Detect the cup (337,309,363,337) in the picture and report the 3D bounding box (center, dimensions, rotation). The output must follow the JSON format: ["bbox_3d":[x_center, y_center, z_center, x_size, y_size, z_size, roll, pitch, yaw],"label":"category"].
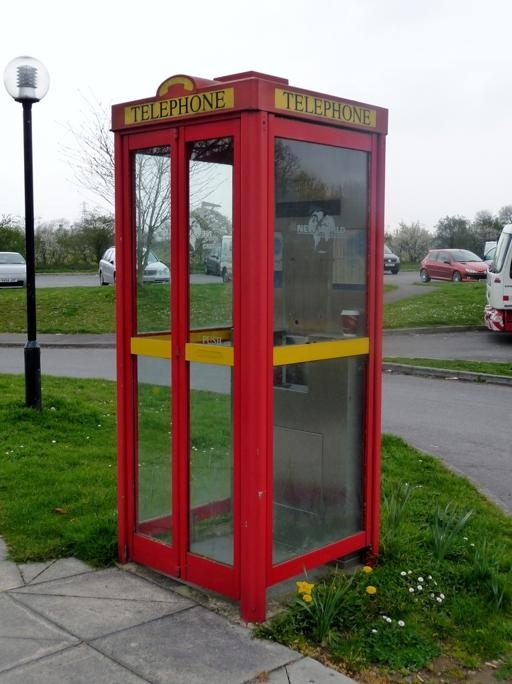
[{"bbox_3d":[0.536,-0.104,3.840,0.134,0.156,0.139,0,1,0],"label":"cup"}]

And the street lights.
[{"bbox_3d":[-2.481,-1.143,7.439,0.393,3.782,0.462,-2,5,-43],"label":"street lights"}]

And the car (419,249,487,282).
[{"bbox_3d":[8.157,-3.160,28.342,1.691,1.425,3.342,0,5,-17],"label":"car"}]
